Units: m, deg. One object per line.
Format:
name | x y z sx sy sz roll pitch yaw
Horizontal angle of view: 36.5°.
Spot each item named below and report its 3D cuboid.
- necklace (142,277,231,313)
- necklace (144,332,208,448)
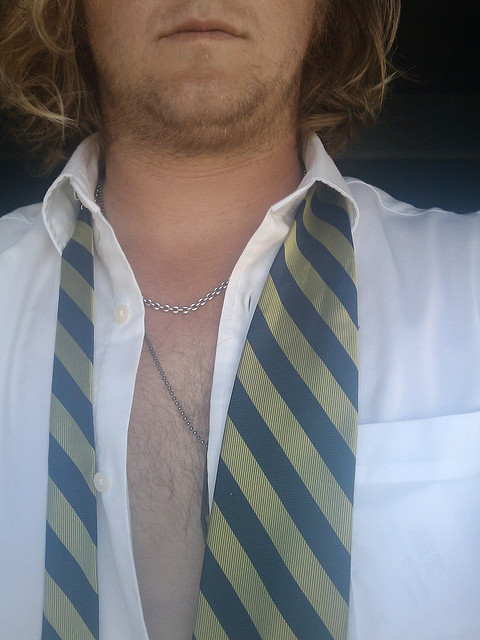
necklace | -0.078 -0.034 1.087 0.083 0.006 0.060 -11 46 10
necklace | -0.089 0.104 1.016 0.016 0.010 0.187 -28 66 -11
